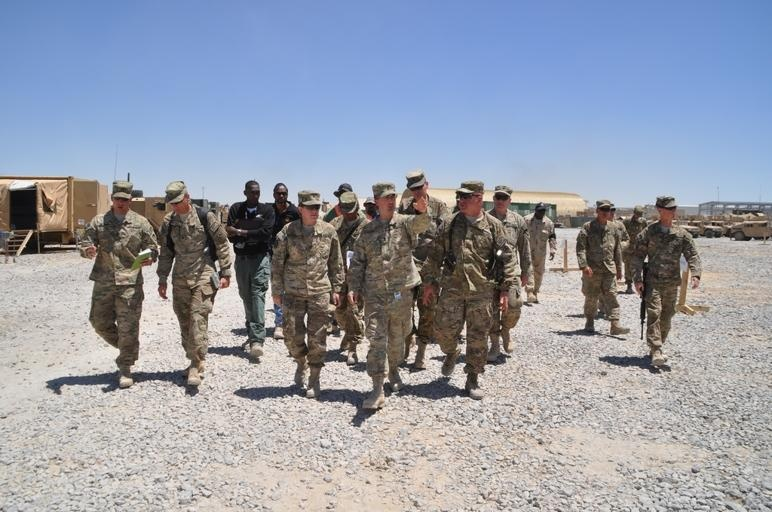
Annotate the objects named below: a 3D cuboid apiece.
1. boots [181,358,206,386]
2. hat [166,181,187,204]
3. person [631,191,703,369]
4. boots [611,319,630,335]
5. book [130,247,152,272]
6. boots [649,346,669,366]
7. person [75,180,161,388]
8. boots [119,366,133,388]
[{"bbox_3d":[-2.808,1.664,8.432,0.280,0.371,0.628,0,4,-18],"label":"boots"},{"bbox_3d":[-3.062,-0.918,8.373,0.263,0.311,0.227,0,5,-17],"label":"hat"},{"bbox_3d":[4.515,0.405,9.368,0.994,2.714,0.895,4,5,27],"label":"person"},{"bbox_3d":[4.379,1.348,10.843,0.318,0.315,0.395,3,5,20],"label":"boots"},{"bbox_3d":[-3.568,0.043,8.336,0.083,0.278,0.302,44,25,22],"label":"book"},{"bbox_3d":[4.359,1.604,9.250,0.153,0.280,0.415,-3,-34,11],"label":"boots"},{"bbox_3d":[-3.900,0.377,8.425,1.023,2.933,0.752,1,5,-4],"label":"person"},{"bbox_3d":[-3.767,1.722,8.339,0.189,0.282,0.376,0,5,-23],"label":"boots"}]
